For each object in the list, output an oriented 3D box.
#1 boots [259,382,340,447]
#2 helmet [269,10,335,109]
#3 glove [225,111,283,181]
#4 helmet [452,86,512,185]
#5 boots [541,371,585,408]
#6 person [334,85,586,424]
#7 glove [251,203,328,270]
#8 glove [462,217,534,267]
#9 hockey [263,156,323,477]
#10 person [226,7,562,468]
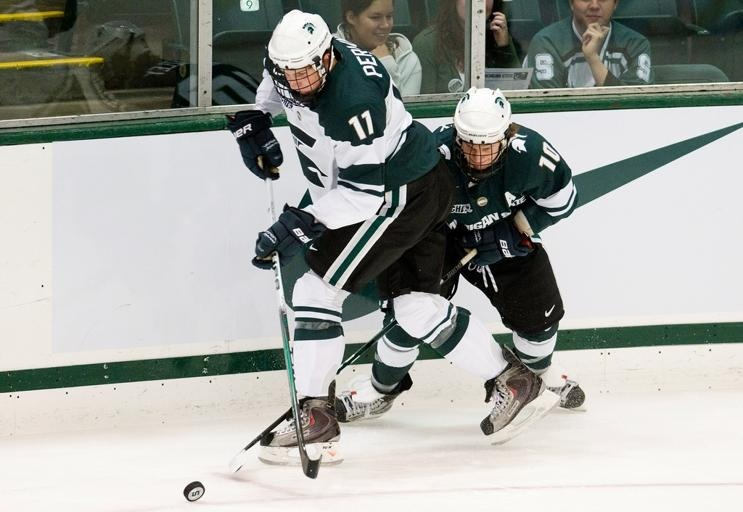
[{"bbox_3d":[-0.345,0.762,4.494,0.365,0.275,0.214,-2,14,-8],"label":"boots"},{"bbox_3d":[-0.314,-0.896,4.275,0.292,0.406,0.175,2,14,6],"label":"helmet"},{"bbox_3d":[-0.564,-0.567,4.777,0.232,0.369,0.119,-14,15,21],"label":"glove"},{"bbox_3d":[0.554,-0.578,4.646,0.314,0.399,0.396,7,57,14],"label":"helmet"},{"bbox_3d":[1.053,0.736,5.177,0.252,0.173,0.082,33,-1,-11],"label":"boots"},{"bbox_3d":[0.427,-0.058,4.786,1.007,1.634,0.985,30,41,32],"label":"person"},{"bbox_3d":[-0.396,-0.086,4.406,0.350,0.222,0.121,-34,-13,6],"label":"glove"},{"bbox_3d":[0.636,-0.073,4.830,0.326,0.199,0.127,-19,-18,0],"label":"glove"},{"bbox_3d":[-0.382,0.269,4.637,0.234,1.589,0.079,-12,-11,22],"label":"hockey"},{"bbox_3d":[0.048,-0.109,4.610,1.276,2.089,0.794,-3,14,-12],"label":"person"}]
